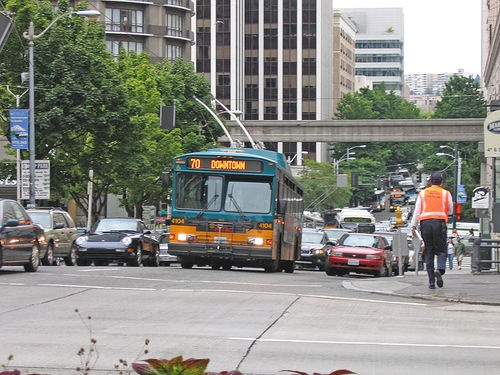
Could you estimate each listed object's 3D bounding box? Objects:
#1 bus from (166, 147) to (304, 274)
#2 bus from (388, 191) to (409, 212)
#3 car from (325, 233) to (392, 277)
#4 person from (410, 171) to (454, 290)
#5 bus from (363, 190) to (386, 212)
[{"bbox_3d":[-0.416,0.641,39.284,3.837,3.286,9.280,0,-1,11],"label":"bus"},{"bbox_3d":[16.403,1.568,127.833,2.985,2.189,5.831,0,3,11],"label":"bus"},{"bbox_3d":[4.120,2.502,42.336,2.117,1.248,2.617,-1,0,21],"label":"car"},{"bbox_3d":[4.901,1.129,31.302,1.130,2.856,0.750,3,-1,9],"label":"person"},{"bbox_3d":[15.127,1.740,138.518,2.284,1.828,4.835,1,3,15],"label":"bus"}]
